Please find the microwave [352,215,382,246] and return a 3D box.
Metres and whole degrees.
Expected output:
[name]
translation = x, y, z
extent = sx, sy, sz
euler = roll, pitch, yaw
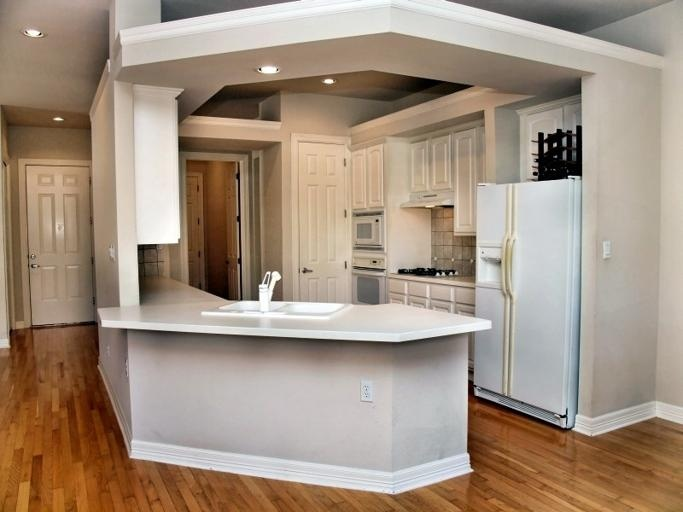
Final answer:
[microwave]
translation = 0.412, -0.315, 6.722
extent = 0.571, 0.371, 0.313
euler = 3, 4, 45
